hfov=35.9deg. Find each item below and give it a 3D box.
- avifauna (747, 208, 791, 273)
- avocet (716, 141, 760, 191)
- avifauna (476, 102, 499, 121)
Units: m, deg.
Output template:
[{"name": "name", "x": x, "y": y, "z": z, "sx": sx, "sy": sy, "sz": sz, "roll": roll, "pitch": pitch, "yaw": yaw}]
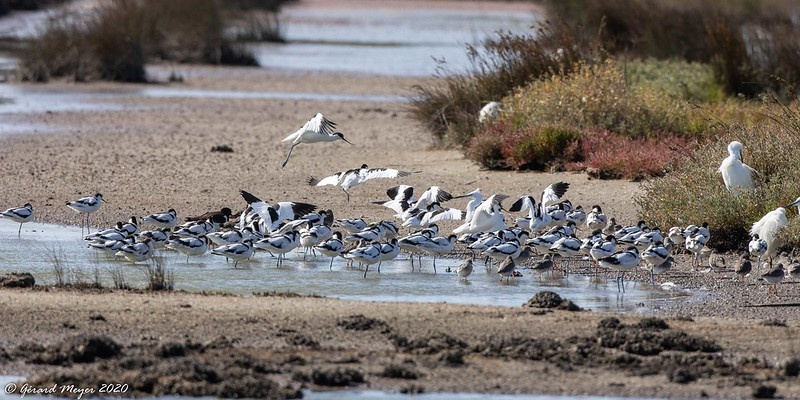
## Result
[{"name": "avifauna", "x": 11.663, "y": 1.108, "z": 39.076, "sx": 1.470, "sy": 1.767, "sz": 0.998, "roll": -2, "pitch": 3, "yaw": -11}, {"name": "avocet", "x": 11.292, "y": -1.146, "z": 40.993, "sx": 1.079, "sy": 1.607, "sz": 1.149, "roll": 2, "pitch": 4, "yaw": 40}, {"name": "avifauna", "x": 3.566, "y": -3.463, "z": 48.668, "sx": 0.932, "sy": 0.773, "sz": 0.876, "roll": -1, "pitch": 3, "yaw": 4}]
